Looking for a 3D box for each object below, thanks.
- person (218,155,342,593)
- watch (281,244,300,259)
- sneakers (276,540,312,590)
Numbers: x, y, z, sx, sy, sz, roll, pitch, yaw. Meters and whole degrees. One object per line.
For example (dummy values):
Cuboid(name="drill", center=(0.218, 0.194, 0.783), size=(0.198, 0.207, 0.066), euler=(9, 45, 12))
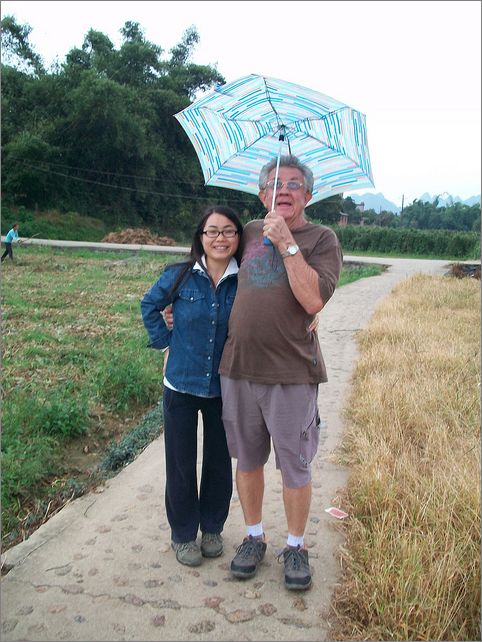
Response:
Cuboid(name="person", center=(0.185, 0.226, 2.175), size=(0.577, 1.937, 0.416), euler=(-1, 5, 17))
Cuboid(name="watch", center=(0.204, -0.283, 1.936), size=(0.060, 0.045, 0.061), euler=(-22, -8, -29))
Cuboid(name="sneakers", center=(0.255, 1.114, 2.104), size=(0.126, 0.159, 0.147), euler=(-3, 6, 8))
